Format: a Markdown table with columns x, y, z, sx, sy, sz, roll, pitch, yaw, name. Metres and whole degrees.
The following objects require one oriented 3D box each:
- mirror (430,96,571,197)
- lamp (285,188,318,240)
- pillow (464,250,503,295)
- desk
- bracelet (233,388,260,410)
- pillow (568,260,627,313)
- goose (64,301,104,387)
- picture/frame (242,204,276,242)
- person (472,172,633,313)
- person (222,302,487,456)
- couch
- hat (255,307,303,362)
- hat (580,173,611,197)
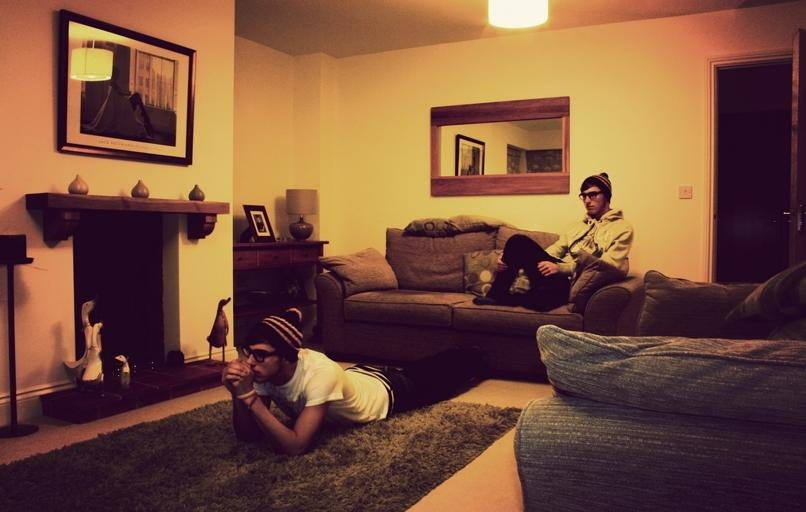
| x | y | z | sx | sy | sz | roll | pitch | yaw | name |
| --- | --- | --- | --- | --- | --- | --- | --- | --- | --- |
| 0.974 | -1.108 | 5.659 | 1.208 | 0.742 | 0.051 | -1 | -6 | 13 | mirror |
| -1.042 | -0.426 | 5.882 | 0.332 | 0.554 | 0.497 | -3 | 14 | -8 | lamp |
| 0.695 | 0.156 | 5.000 | 0.390 | 0.364 | 0.168 | 3 | -17 | 35 | pillow |
| -1.260 | 0.307 | 5.470 | 0.972 | 0.833 | 0.378 | -3 | 0 | -26 | desk |
| -0.820 | 0.735 | 2.914 | 0.105 | 0.053 | 0.090 | -5 | -6 | 44 | bracelet |
| 1.373 | 0.198 | 4.174 | 0.411 | 0.382 | 0.127 | 17 | 8 | -27 | pillow |
| -2.063 | 0.570 | 3.640 | 0.229 | 0.522 | 0.208 | -10 | 17 | -32 | goose |
| -1.398 | -0.323 | 5.486 | 0.255 | 0.346 | 0.417 | -4 | 14 | -15 | picture/frame |
| 1.192 | -0.109 | 4.565 | 1.293 | 1.108 | 0.743 | -4 | 10 | -1 | person |
| -0.211 | 0.671 | 3.535 | 1.934 | 0.725 | 0.749 | -2 | 2 | -44 | person |
| 0.558 | 0.422 | 4.764 | 2.494 | 0.878 | 0.848 | 1 | 11 | 27 | couch |
| -0.659 | 0.406 | 2.989 | 0.279 | 0.203 | 0.204 | 12 | -4 | -18 | hat |
| 1.648 | -0.614 | 4.785 | 0.269 | 0.191 | 0.201 | -4 | -8 | -12 | hat |
